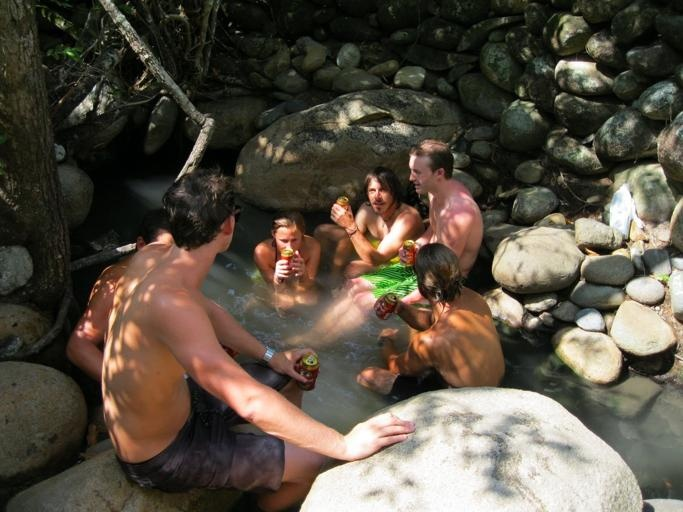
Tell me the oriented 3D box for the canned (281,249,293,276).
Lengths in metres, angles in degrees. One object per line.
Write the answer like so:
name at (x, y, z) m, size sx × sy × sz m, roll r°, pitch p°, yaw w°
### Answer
canned at (-0.556, 0.063, 5.926) m, size 0.155 × 0.267 × 0.168 m, roll 6°, pitch 51°, yaw 3°

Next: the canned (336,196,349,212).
canned at (0.020, -0.582, 6.562) m, size 0.162 × 0.164 × 0.171 m, roll 4°, pitch 36°, yaw 1°

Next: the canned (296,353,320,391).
canned at (-0.275, 0.922, 4.662) m, size 0.160 × 0.278 × 0.166 m, roll 14°, pitch 35°, yaw 4°

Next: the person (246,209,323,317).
person at (-0.616, 0.030, 6.551) m, size 0.632 × 1.191 × 0.764 m, roll -23°, pitch 50°, yaw -28°

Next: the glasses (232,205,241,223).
glasses at (-0.772, -0.305, 4.332) m, size 0.108 × 0.045 × 0.129 m, roll -2°, pitch 90°, yaw -12°
